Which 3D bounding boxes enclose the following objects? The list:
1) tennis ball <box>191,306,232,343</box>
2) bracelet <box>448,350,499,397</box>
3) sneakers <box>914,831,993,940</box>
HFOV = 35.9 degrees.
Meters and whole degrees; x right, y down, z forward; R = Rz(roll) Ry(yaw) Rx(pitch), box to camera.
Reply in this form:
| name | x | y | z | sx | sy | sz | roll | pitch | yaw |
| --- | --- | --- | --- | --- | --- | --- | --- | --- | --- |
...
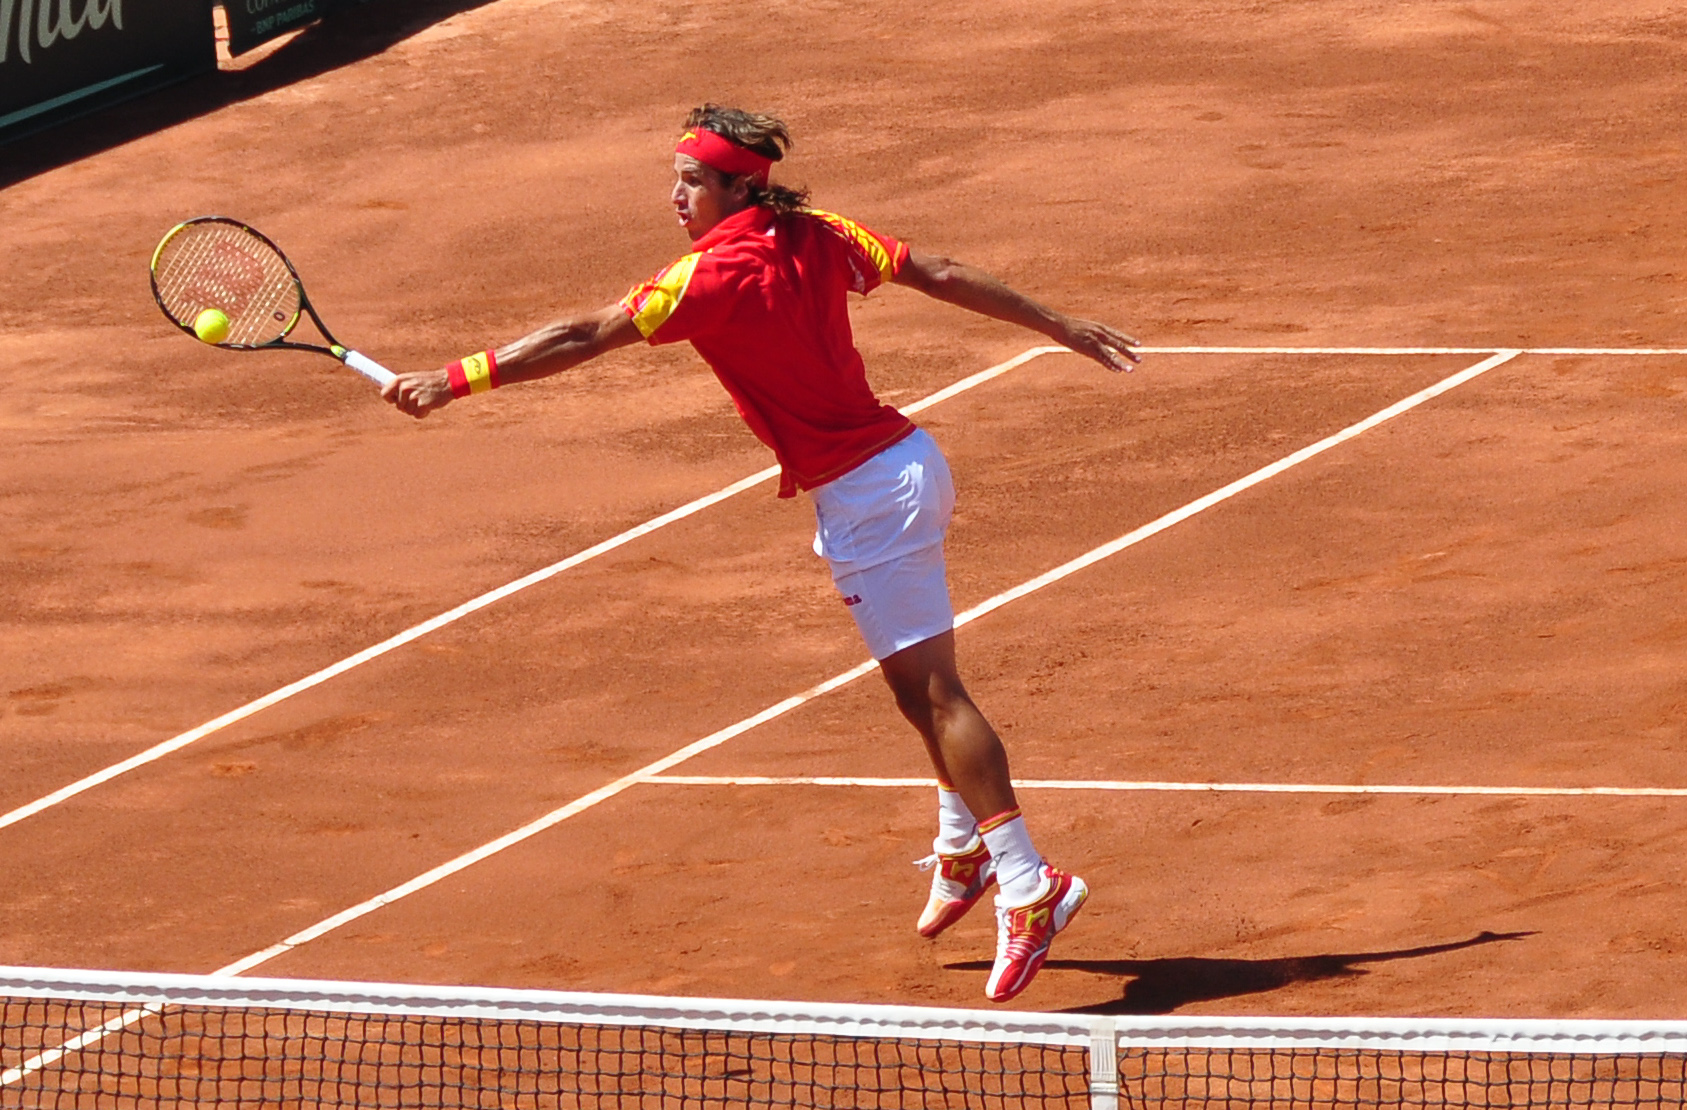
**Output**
| name | x | y | z | sx | sy | sz | roll | pitch | yaw |
| --- | --- | --- | --- | --- | --- | --- | --- | --- | --- |
| tennis ball | -3.018 | -1.103 | 12.724 | 0.184 | 0.148 | 0.164 | -7 | -20 | 9 |
| bracelet | -1.602 | -0.822 | 11.848 | 0.255 | 0.186 | 0.230 | -2 | 19 | 27 |
| sneakers | 0.545 | 1.581 | 12.404 | 0.306 | 0.629 | 0.206 | 21 | 41 | -20 |
